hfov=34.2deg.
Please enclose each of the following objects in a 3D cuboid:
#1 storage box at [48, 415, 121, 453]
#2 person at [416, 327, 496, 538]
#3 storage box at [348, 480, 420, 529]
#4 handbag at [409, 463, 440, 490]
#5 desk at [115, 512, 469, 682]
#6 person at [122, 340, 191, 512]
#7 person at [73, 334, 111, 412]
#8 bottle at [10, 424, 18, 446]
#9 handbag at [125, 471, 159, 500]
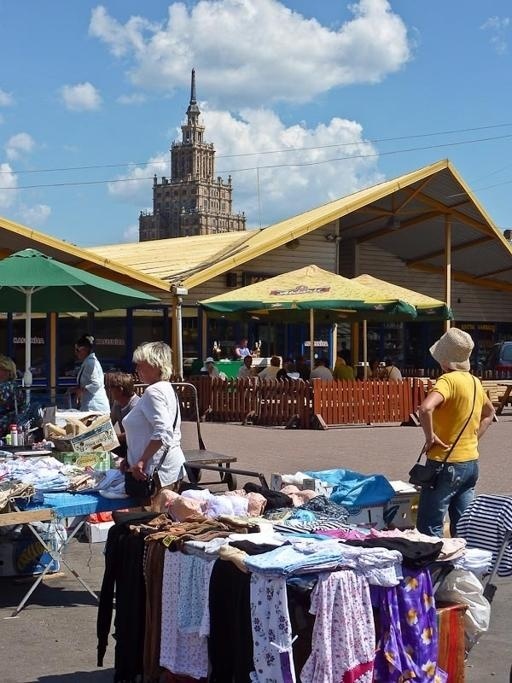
[{"bbox_3d":[-1.489,0.791,7.174,0.391,0.181,0.492,-1,-2,-21],"label":"storage box"},{"bbox_3d":[1.195,0.576,5.163,0.344,1.331,0.796,0,-1,29],"label":"person"},{"bbox_3d":[0.914,1.178,5.915,0.451,0.209,0.320,-4,6,-34],"label":"storage box"},{"bbox_3d":[1.013,0.823,5.083,0.138,0.159,0.178,1,-1,-22],"label":"handbag"},{"bbox_3d":[0.027,1.116,3.434,1.197,0.603,0.600,0,-1,31],"label":"desk"},{"bbox_3d":[-0.676,0.550,5.423,0.379,1.093,0.450,1,-1,-1],"label":"person"},{"bbox_3d":[-1.823,0.356,9.328,0.370,0.859,0.444,1,-1,-12],"label":"person"},{"bbox_3d":[-2.151,0.823,7.424,0.063,0.155,0.269,1,-1,-17],"label":"bottle"},{"bbox_3d":[-0.705,0.937,5.320,0.232,0.157,0.171,2,-16,31],"label":"handbag"}]
